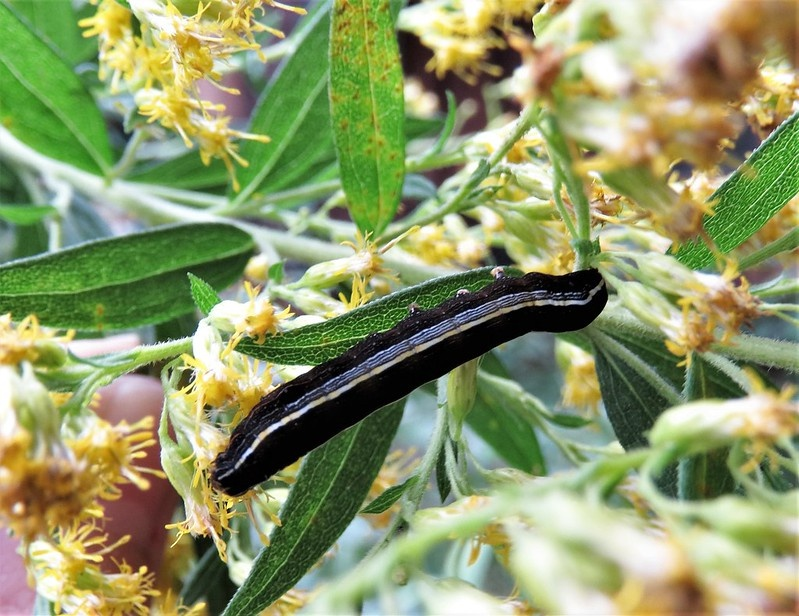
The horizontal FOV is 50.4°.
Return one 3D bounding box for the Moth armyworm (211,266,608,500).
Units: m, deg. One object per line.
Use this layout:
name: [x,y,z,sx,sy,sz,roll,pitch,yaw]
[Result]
Moth armyworm: [0.040,0.072,1.265,0.705,0.144,0.132,-23,32,-32]
